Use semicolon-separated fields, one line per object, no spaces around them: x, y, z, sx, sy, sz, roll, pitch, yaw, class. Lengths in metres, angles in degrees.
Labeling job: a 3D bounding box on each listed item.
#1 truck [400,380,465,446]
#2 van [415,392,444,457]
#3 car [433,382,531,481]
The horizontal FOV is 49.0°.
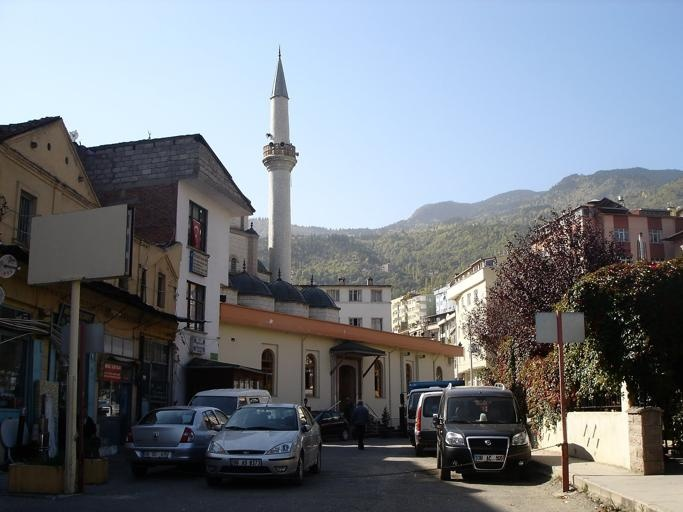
3.792;6.916;33.005;2.221;2.345;3.783;0;-8;-1;truck
2.987;6.091;26.661;1.073;1.571;2.866;-4;-5;6;van
3.763;4.924;20.431;2.153;2.646;4.780;0;-12;4;car
